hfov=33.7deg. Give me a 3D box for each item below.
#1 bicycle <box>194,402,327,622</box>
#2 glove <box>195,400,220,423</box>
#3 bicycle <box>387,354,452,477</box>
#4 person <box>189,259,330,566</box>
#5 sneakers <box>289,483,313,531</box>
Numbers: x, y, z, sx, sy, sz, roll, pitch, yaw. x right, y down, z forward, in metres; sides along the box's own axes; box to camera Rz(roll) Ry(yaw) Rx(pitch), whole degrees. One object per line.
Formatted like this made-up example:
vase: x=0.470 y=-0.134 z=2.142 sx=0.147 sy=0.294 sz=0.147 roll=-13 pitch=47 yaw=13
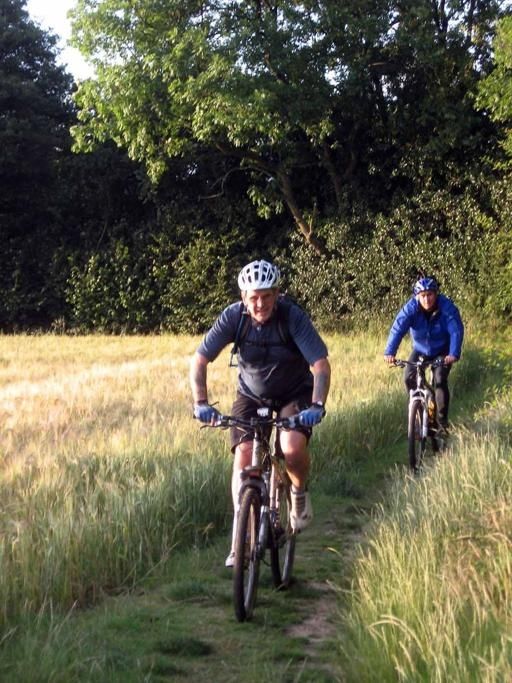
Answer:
bicycle: x=0.052 y=1.021 z=5.423 sx=0.449 sy=0.935 sz=1.188 roll=-1 pitch=-5 yaw=7
glove: x=-0.305 y=0.442 z=5.047 sx=0.162 sy=0.103 sz=0.136 roll=5 pitch=8 yaw=18
bicycle: x=1.679 y=0.711 z=8.637 sx=0.511 sy=1.138 sz=1.342 roll=3 pitch=7 yaw=13
person: x=0.114 y=0.449 z=5.429 sx=0.653 sy=1.947 sz=1.038 roll=1 pitch=13 yaw=26
sneakers: x=0.297 y=1.092 z=5.579 sx=0.066 sy=0.292 sz=0.158 roll=-3 pitch=5 yaw=32
